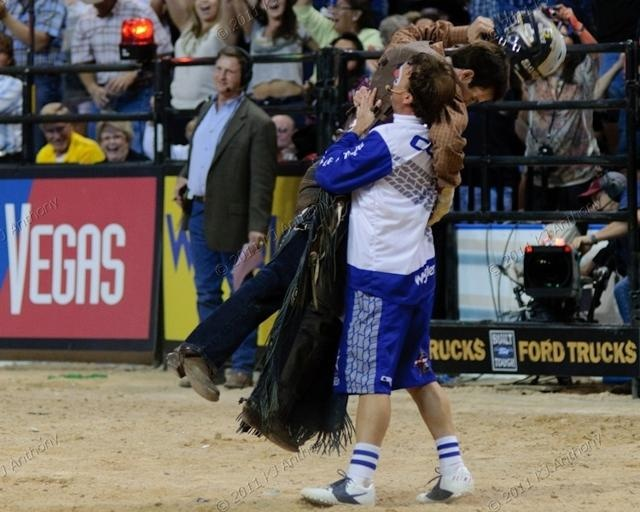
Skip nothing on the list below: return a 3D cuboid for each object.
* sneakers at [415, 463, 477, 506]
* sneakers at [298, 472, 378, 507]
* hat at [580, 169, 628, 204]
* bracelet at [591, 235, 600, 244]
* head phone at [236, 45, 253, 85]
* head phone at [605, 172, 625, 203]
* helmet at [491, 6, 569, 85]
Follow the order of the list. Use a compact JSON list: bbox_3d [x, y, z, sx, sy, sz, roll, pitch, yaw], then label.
[{"bbox_3d":[0.853,1.540,12.640,0.482,0.236,0.169,-20,-20,17],"label":"sneakers"},{"bbox_3d":[0.112,1.558,12.499,0.503,0.242,0.194,6,-14,-1],"label":"sneakers"},{"bbox_3d":[2.260,-0.545,14.937,0.273,0.171,0.193,8,-4,16],"label":"hat"},{"bbox_3d":[2.141,-0.120,14.795,0.063,0.062,0.018,-18,-34,-31],"label":"bracelet"},{"bbox_3d":[-0.598,-1.483,14.979,0.190,0.200,0.233,4,-3,-10],"label":"head phone"},{"bbox_3d":[2.331,-0.546,14.987,0.183,0.169,0.152,12,1,33],"label":"head phone"},{"bbox_3d":[1.542,-1.598,14.268,0.508,0.572,0.478,18,39,35],"label":"helmet"}]
